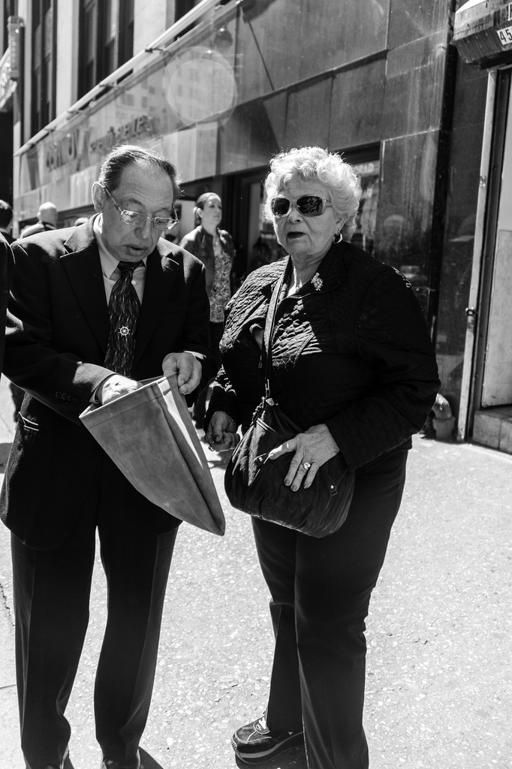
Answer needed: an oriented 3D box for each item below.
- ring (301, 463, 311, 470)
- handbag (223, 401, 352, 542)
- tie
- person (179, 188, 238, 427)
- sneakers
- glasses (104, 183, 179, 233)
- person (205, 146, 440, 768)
[{"bbox_3d":[0.118,0.192,1.846,0.020,0.015,0.006,-2,11,-6],"label":"ring"},{"bbox_3d":[0.089,0.208,1.930,0.276,0.276,0.150,27,-8,16],"label":"handbag"},{"bbox_3d":[-0.344,-0.167,2.058,0.079,0.354,0.037,-1,38,-13],"label":"tie"},{"bbox_3d":[-0.328,-0.589,6.321,0.582,1.983,0.582,0,-4,-7],"label":"person"},{"bbox_3d":[0.030,1.052,2.338,0.224,0.103,0.091,-9,8,14],"label":"sneakers"},{"bbox_3d":[-0.269,-0.437,1.958,0.125,0.039,0.127,-7,50,-50],"label":"glasses"},{"bbox_3d":[0.154,0.247,2.153,0.463,1.760,0.641,-5,12,-23],"label":"person"}]
